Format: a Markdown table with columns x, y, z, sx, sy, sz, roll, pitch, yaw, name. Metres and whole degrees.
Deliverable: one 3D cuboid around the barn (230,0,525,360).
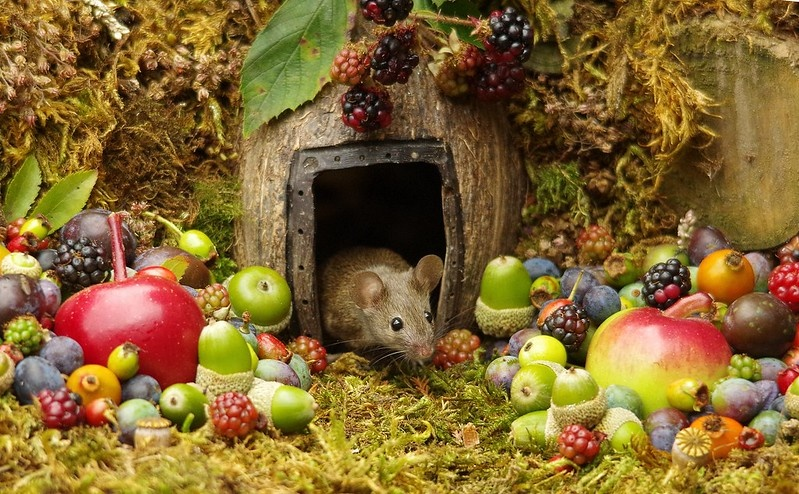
| x | y | z | sx | sy | sz | roll | pitch | yaw | name |
| --- | --- | --- | --- | --- | --- | --- | --- | --- | --- |
| -0.177 | -0.718 | 7.509 | 2.384 | 3.052 | 2.394 | -1 | 17 | -7 | barn |
